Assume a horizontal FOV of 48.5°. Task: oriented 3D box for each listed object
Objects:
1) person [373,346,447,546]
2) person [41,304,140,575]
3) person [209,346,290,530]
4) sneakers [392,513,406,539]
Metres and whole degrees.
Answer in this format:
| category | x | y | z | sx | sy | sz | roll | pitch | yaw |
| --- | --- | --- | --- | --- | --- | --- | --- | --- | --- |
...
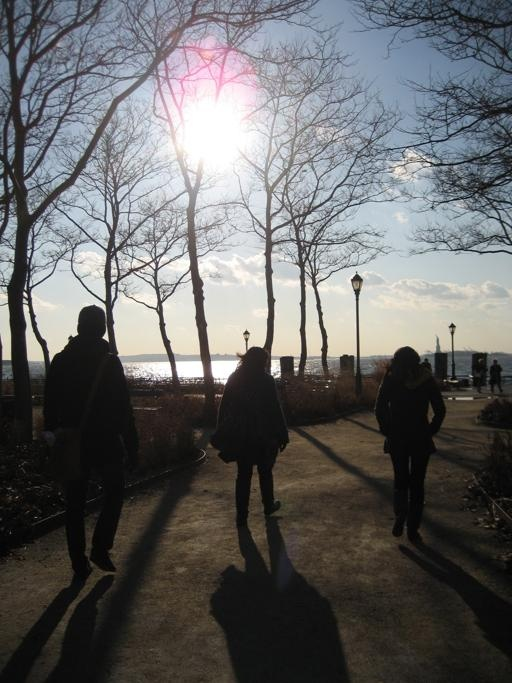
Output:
| category | x | y | z | sx | sy | sz | roll | pitch | yaw |
| --- | --- | --- | --- | --- | --- | --- | --- | --- | --- |
| person | 1.393 | 0.947 | 5.236 | 0.598 | 1.799 | 0.534 | -1 | 2 | 38 |
| person | -1.238 | 0.767 | 4.327 | 0.709 | 1.494 | 0.450 | -3 | 2 | -30 |
| person | -0.086 | 0.983 | 5.850 | 0.775 | 1.841 | 0.571 | -3 | 2 | -13 |
| sneakers | 1.306 | 1.702 | 5.215 | 0.081 | 0.279 | 0.110 | 4 | -13 | 3 |
